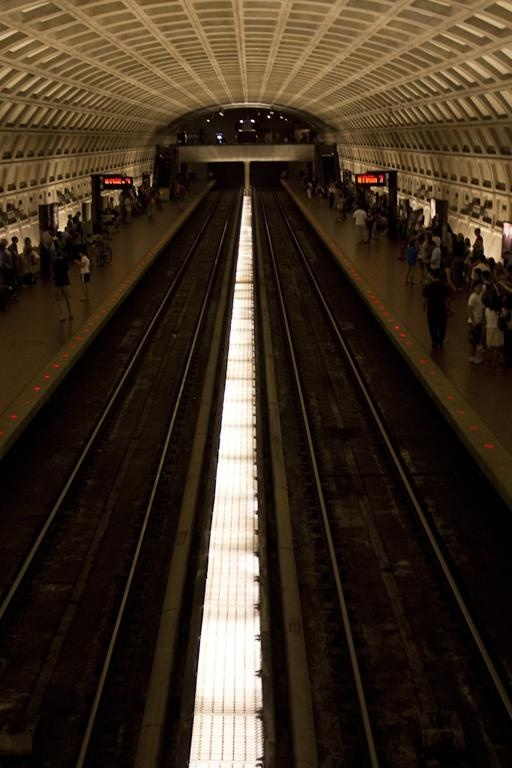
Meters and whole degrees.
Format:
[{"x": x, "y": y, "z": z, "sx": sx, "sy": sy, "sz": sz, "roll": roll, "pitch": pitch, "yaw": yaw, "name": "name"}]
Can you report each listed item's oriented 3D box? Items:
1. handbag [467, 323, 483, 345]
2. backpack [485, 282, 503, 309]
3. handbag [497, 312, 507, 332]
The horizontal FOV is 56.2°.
[{"x": 5.132, "y": -1.156, "z": 11.191, "sx": 0.253, "sy": 0.505, "sz": 0.702, "roll": 5, "pitch": 12, "yaw": 30, "name": "handbag"}, {"x": 5.151, "y": -1.864, "z": 10.417, "sx": 0.371, "sy": 0.540, "sz": 0.379, "roll": 5, "pitch": 12, "yaw": 30, "name": "backpack"}, {"x": 5.408, "y": -1.339, "z": 10.479, "sx": 0.092, "sy": 0.347, "sz": 0.353, "roll": 6, "pitch": 52, "yaw": 26, "name": "handbag"}]
